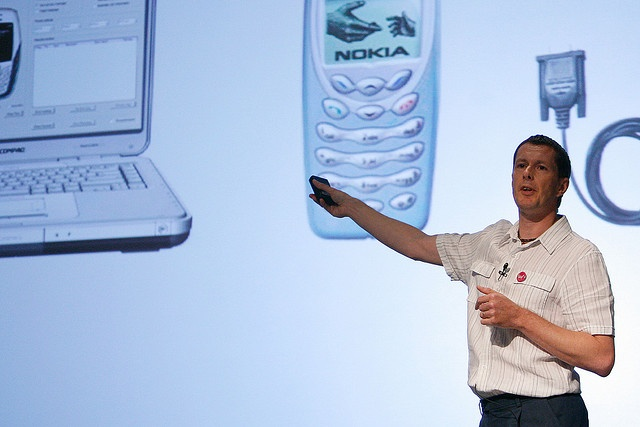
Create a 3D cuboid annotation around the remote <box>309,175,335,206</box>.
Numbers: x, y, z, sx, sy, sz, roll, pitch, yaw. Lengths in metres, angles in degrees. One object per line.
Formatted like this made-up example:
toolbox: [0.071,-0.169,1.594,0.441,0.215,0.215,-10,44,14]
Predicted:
remote: [0.003,-0.071,2.984,0.098,0.030,0.064,43,-45,-19]
